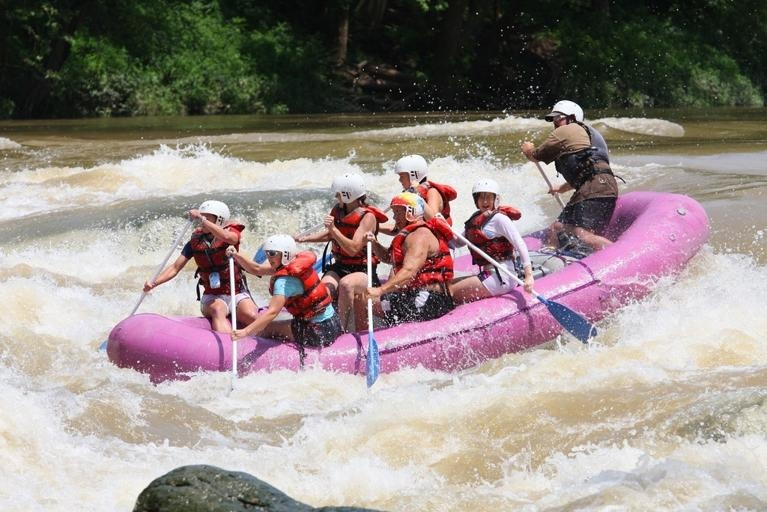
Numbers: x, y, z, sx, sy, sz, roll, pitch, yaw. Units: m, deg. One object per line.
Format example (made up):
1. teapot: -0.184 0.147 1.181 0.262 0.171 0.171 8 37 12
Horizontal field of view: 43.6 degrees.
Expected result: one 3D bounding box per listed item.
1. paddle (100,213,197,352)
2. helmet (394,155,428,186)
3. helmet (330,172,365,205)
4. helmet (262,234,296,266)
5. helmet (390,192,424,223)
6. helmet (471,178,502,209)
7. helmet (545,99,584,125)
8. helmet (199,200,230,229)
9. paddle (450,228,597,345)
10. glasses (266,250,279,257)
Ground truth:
1. paddle: -3.500 0.445 14.196 0.529 2.446 0.117 44 6 -13
2. helmet: 0.394 -1.210 13.603 0.461 0.391 0.330 6 -3 -3
3. helmet: -0.447 -0.899 12.704 0.453 0.353 0.330 0 6 11
4. helmet: -1.325 -0.106 12.189 0.410 0.317 0.308 4 -3 -14
5. helmet: 0.344 -0.673 12.652 0.428 0.328 0.324 -24 17 9
6. helmet: 1.375 -0.836 12.894 0.314 0.320 0.398 -5 -10 15
7. helmet: 2.678 -2.182 14.289 0.511 0.262 0.358 4 -4 -8
8. helmet: -2.243 -0.573 12.877 0.393 0.300 0.307 -12 18 -18
9. paddle: 1.861 0.463 12.806 2.282 0.270 0.165 40 5 1
10. glasses: -1.399 -0.042 12.150 0.110 0.111 0.036 -3 33 23
